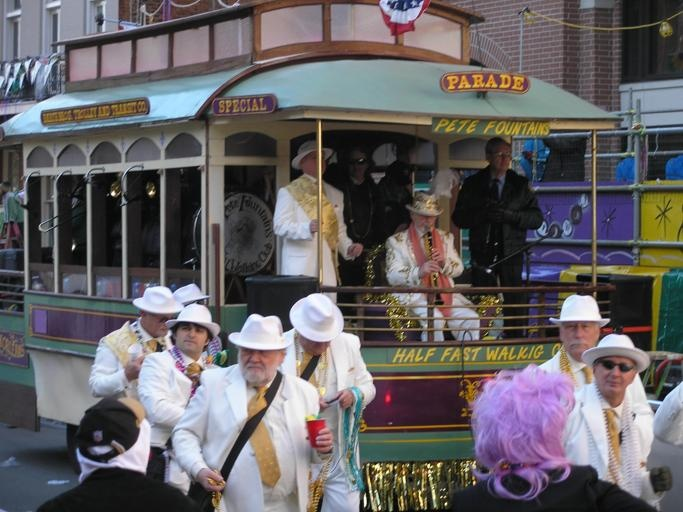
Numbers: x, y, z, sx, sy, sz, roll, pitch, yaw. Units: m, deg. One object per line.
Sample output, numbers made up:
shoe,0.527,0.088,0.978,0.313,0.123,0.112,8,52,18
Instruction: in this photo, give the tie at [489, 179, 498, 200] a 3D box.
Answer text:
tie,1.837,-0.812,20.718,0.068,0.281,0.079,-7,-15,20

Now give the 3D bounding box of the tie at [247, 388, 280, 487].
tie,-0.765,1.761,16.414,0.308,0.973,0.116,0,-2,-3

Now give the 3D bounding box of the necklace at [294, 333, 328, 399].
necklace,-0.311,1.151,17.431,0.363,0.586,0.165,0,5,-11

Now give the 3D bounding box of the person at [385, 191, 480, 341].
person,1.059,0.101,19.941,1.104,1.798,1.257,0,-2,1

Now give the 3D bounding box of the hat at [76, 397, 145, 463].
hat,-2.112,1.556,15.577,0.453,0.304,0.607,10,34,18

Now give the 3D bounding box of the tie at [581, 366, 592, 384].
tie,2.484,1.230,17.346,0.085,0.147,0.057,-4,-28,-8

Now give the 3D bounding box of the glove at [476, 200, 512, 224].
glove,1.821,-0.538,20.652,0.467,0.274,0.143,-2,-3,41

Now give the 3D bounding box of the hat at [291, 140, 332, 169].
hat,-0.406,-1.188,20.279,0.407,0.146,0.358,-27,-11,11

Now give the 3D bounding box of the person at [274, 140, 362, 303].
person,-0.342,-0.418,20.277,0.866,1.924,1.177,-1,-3,27

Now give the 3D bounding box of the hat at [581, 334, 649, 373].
hat,2.627,0.967,16.648,0.533,0.158,0.545,2,-16,4

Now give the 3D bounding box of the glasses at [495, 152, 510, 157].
glasses,1.932,-1.236,20.629,0.175,0.062,0.071,0,-2,-14

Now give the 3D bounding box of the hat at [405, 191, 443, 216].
hat,0.963,-0.626,20.268,0.328,0.137,0.344,5,0,-12

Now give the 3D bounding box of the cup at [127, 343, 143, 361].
cup,-2.177,1.012,17.835,0.164,0.113,0.156,-19,31,12
